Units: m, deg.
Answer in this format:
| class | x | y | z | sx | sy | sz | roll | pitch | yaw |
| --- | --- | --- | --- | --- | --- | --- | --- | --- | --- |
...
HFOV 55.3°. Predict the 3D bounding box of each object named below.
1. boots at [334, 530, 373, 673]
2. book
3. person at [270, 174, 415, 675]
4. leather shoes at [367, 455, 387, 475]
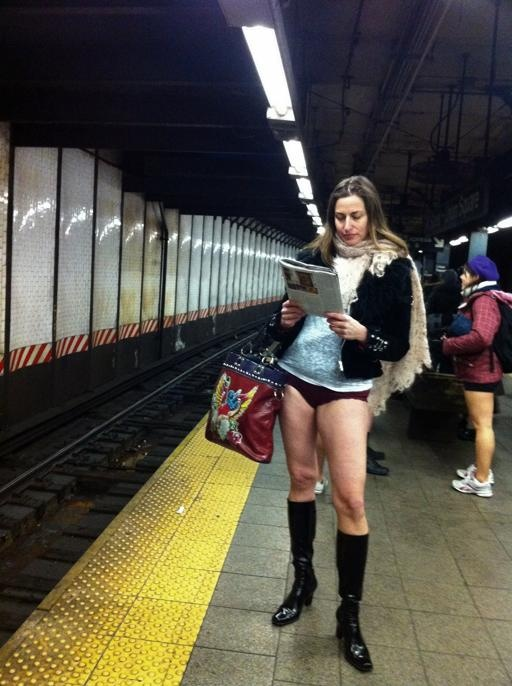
| class | x | y | z | sx | sy | sz | roll | pitch | yaw |
| --- | --- | --- | --- | --- | --- | --- | --- | --- | --- |
| boots | 0.385 | 0.968 | 1.920 | 0.159 | 0.504 | 0.300 | 4 | 1 | 9 |
| book | 0.207 | -0.198 | 1.761 | 0.318 | 0.281 | 0.044 | 19 | 61 | 36 |
| person | 0.312 | 0.274 | 1.980 | 0.443 | 1.838 | 0.549 | 3 | 1 | -33 |
| leather shoes | 1.028 | 1.071 | 4.288 | 0.238 | 0.128 | 0.083 | 2 | 6 | 29 |
